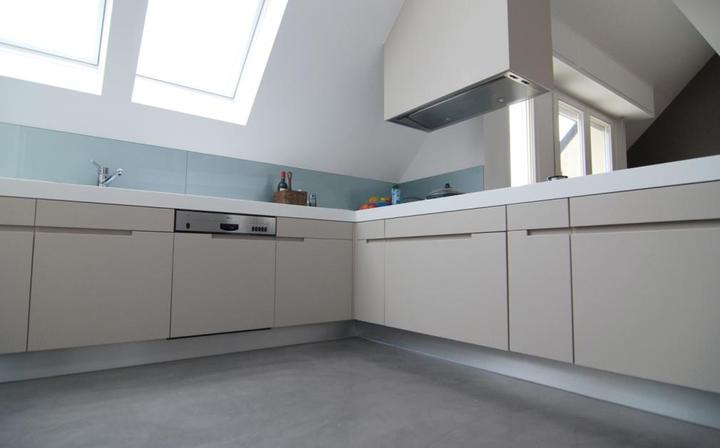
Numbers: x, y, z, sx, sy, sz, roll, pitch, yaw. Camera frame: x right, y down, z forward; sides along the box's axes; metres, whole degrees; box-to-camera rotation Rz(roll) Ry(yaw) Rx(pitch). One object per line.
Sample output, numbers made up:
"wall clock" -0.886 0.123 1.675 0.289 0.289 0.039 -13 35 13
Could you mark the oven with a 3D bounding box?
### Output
"oven" -1.257 0.487 4.058 0.995 1.352 0.925 6 -12 -33
